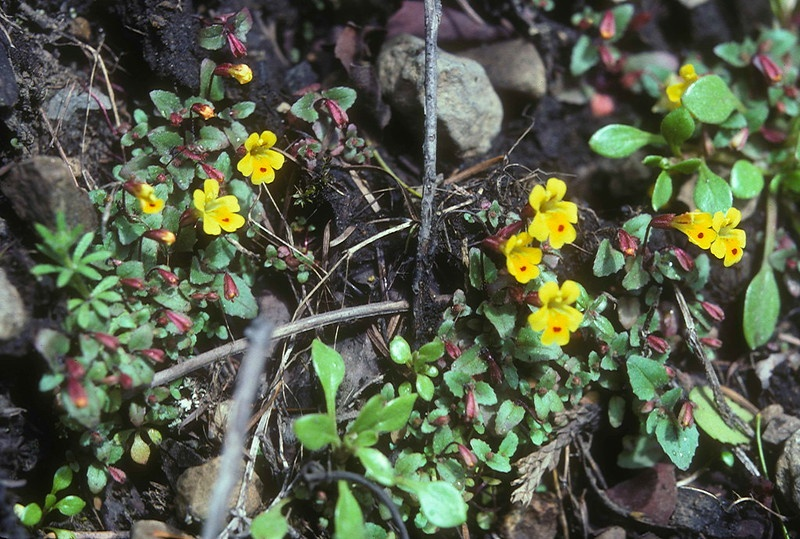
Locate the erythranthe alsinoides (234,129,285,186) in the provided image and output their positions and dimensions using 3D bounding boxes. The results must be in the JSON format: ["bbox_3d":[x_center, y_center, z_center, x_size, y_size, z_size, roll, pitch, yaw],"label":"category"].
[{"bbox_3d":[-0.984,-0.790,4.632,0.303,0.346,0.202,-9,26,-23],"label":"erythranthe alsinoides"}]

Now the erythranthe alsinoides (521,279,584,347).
[{"bbox_3d":[1.034,0.356,4.360,0.360,0.533,0.248,-20,31,-40],"label":"erythranthe alsinoides"}]

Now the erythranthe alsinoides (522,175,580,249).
[{"bbox_3d":[0.960,-0.450,4.501,0.415,0.169,0.434,18,-9,46],"label":"erythranthe alsinoides"}]

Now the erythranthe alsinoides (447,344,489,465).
[{"bbox_3d":[0.490,0.801,4.570,0.292,0.463,0.275,-20,31,-39],"label":"erythranthe alsinoides"}]

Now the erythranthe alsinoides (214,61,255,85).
[{"bbox_3d":[-1.166,-1.399,4.699,0.236,0.142,0.107,4,10,19],"label":"erythranthe alsinoides"}]

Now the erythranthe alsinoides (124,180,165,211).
[{"bbox_3d":[-1.674,-0.474,4.407,0.096,0.163,0.302,10,-13,23],"label":"erythranthe alsinoides"}]

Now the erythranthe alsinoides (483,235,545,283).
[{"bbox_3d":[0.777,-0.099,4.509,0.246,0.358,0.227,-33,-11,-9],"label":"erythranthe alsinoides"}]

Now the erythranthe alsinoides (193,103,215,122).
[{"bbox_3d":[-1.357,-1.096,4.637,0.149,0.085,0.067,18,9,33],"label":"erythranthe alsinoides"}]

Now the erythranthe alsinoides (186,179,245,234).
[{"bbox_3d":[-1.302,-0.443,4.560,0.312,0.317,0.133,-11,52,34],"label":"erythranthe alsinoides"}]

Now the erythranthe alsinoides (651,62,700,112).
[{"bbox_3d":[2.166,-1.420,5.229,0.277,0.455,0.919,10,26,18],"label":"erythranthe alsinoides"}]

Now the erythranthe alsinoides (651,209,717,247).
[{"bbox_3d":[1.998,-0.315,4.667,0.348,0.236,0.160,12,28,5],"label":"erythranthe alsinoides"}]

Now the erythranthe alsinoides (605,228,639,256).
[{"bbox_3d":[1.586,-0.200,4.712,0.046,0.139,0.195,-23,68,-41],"label":"erythranthe alsinoides"}]
